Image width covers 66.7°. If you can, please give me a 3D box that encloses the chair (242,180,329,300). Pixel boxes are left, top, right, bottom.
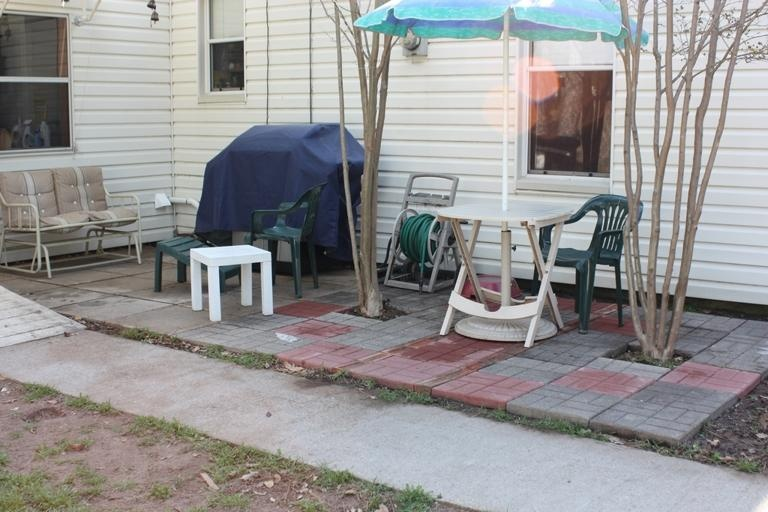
[{"bbox_3d":[-1.235,-0.239,7.230,1.051,1.086,0.922,-1,7,-8],"label":"chair"}]

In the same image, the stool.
[{"bbox_3d":[-1.602,0.284,6.349,0.846,0.557,0.758,-2,1,-4],"label":"stool"}]
